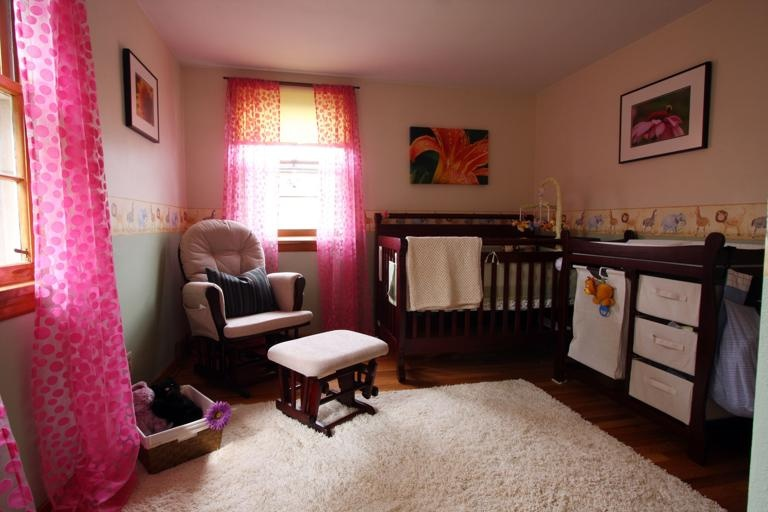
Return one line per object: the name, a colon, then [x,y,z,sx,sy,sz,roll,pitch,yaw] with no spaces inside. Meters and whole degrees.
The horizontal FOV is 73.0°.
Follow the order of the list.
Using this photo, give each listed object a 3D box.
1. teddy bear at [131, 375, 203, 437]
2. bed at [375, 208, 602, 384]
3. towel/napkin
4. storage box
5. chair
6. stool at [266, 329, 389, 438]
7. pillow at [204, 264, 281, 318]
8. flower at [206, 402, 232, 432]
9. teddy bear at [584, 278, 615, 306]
teddy bear: [-1.349,0.903,3.214,0.318,0.107,0.341,2,19,-32]
bed: [0.779,0.315,4.505,1.846,1.636,1.302,0,-1,-16]
towel/napkin: [0.454,0.134,4.133,0.539,0.598,0.185,0,-2,-3]
storage box: [-1.259,1.110,3.222,0.488,0.325,0.477,0,10,-37]
chair: [-1.122,0.363,4.174,1.057,1.270,0.951,4,7,22]
stool: [-0.407,0.826,3.621,0.658,0.529,0.756,16,14,36]
pillow: [-1.118,0.293,4.066,0.120,0.278,0.344,-22,-11,42]
flower: [-1.015,0.977,3.175,0.151,0.067,0.152,43,31,22]
teddy bear: [1.469,0.247,3.589,0.110,0.209,0.188,-2,-6,-42]
